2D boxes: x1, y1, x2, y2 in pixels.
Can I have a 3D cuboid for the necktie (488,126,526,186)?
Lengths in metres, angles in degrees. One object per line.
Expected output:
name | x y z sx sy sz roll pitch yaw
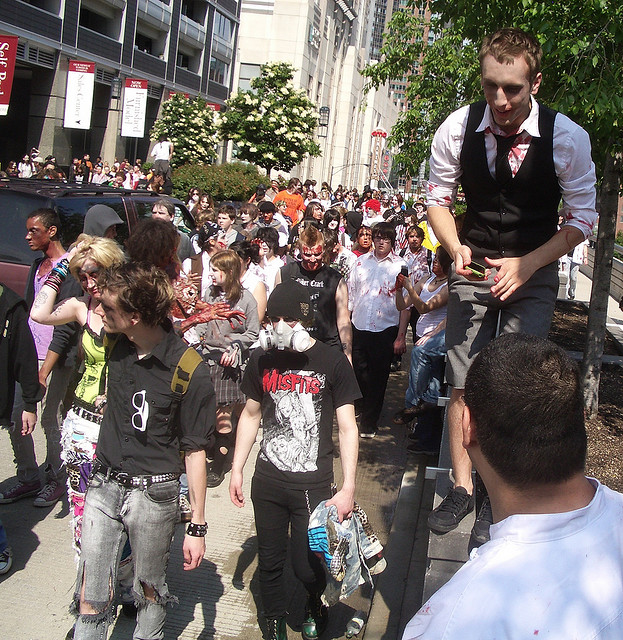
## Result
necktie | 1.073 -0.915 2.840 0.183 0.309 0.058 7 6 16

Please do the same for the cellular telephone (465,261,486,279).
cellular telephone | 0.924 -0.282 2.850 0.099 0.096 0.355 8 7 18

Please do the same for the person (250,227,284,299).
person | -0.562 -0.857 7.672 0.350 0.264 0.983 -19 57 -16

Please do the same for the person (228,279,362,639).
person | -0.096 0.977 3.431 0.854 2.467 0.828 6 6 12
